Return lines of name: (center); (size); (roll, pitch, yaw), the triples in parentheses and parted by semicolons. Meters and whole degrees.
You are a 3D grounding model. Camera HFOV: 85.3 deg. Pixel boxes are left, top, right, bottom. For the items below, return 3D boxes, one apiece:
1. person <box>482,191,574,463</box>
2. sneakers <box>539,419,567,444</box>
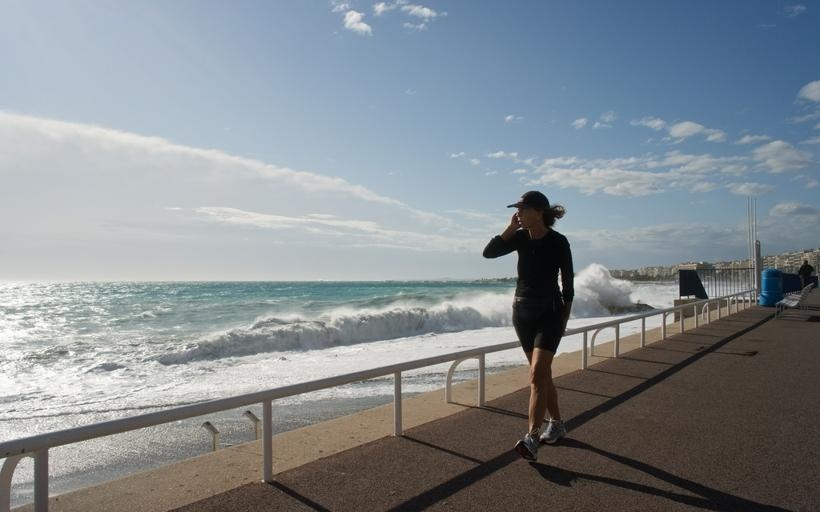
person: (1.520, 0.852, 5.440); (0.910, 3.279, 0.973); (-2, -5, 17)
sneakers: (1.791, 2.288, 5.765); (0.603, 0.241, 0.198); (10, -21, -42)
